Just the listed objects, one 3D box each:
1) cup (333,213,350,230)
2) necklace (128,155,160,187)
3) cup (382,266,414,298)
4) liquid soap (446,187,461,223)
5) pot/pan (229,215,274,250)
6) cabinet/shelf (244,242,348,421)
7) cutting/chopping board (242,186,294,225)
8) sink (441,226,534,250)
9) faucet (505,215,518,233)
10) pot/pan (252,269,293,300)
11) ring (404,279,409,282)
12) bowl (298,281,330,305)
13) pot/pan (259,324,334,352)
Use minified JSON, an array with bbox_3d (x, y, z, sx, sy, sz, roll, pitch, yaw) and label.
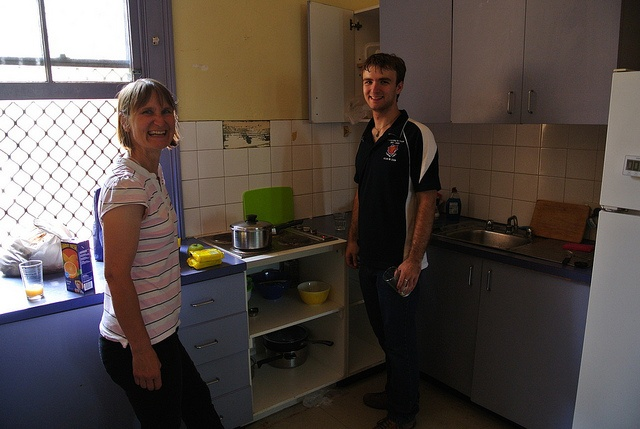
[{"bbox_3d":[0.170,0.056,3.328,0.121,0.125,0.121,0,0,0],"label":"cup"},{"bbox_3d":[-0.790,-0.185,2.029,0.113,0.030,0.113,34,23,-1],"label":"necklace"},{"bbox_3d":[0.420,0.391,2.590,0.104,0.167,0.054,7,14,39],"label":"cup"},{"bbox_3d":[1.002,-0.068,3.365,0.103,0.241,0.148,0,11,12],"label":"liquid soap"},{"bbox_3d":[-0.419,0.099,2.807,0.225,0.167,0.224,-2,4,-21],"label":"pot/pan"},{"bbox_3d":[-0.152,0.811,3.033,0.984,0.968,0.559,-10,14,-40],"label":"cabinet/shelf"},{"bbox_3d":[-0.390,-0.064,3.230,0.269,0.194,0.027,-8,12,-32],"label":"cutting/chopping board"},{"bbox_3d":[1.128,0.176,3.107,0.231,0.112,0.276,-10,16,-36],"label":"sink"},{"bbox_3d":[1.323,0.073,3.087,0.077,0.111,0.086,3,13,26],"label":"faucet"},{"bbox_3d":[-0.332,0.491,3.157,0.188,0.099,0.269,-4,12,-19],"label":"pot/pan"},{"bbox_3d":[0.485,0.370,2.517,0.017,0.017,0.004,-17,13,7],"label":"ring"},{"bbox_3d":[-0.042,0.529,3.105,0.161,0.084,0.160,0,1,0],"label":"bowl"},{"bbox_3d":[-0.176,0.822,3.129,0.360,0.119,0.214,6,8,31],"label":"pot/pan"}]
